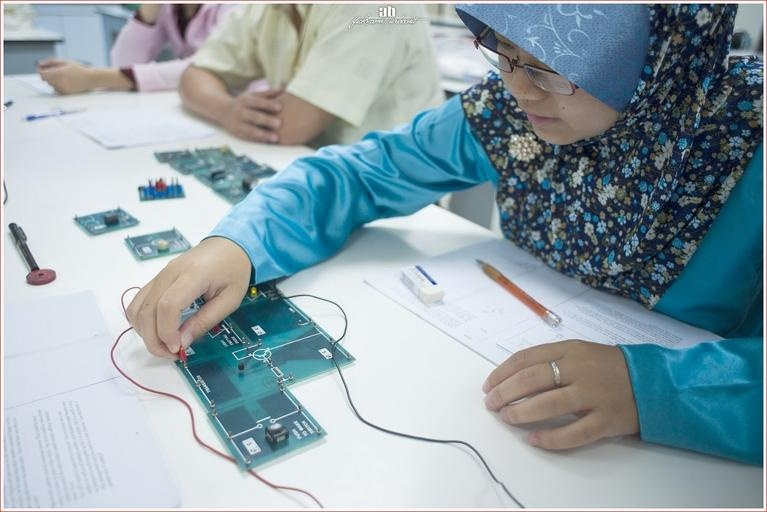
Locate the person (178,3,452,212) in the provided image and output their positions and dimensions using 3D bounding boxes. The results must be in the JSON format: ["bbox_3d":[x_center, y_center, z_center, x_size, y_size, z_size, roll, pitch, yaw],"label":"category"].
[{"bbox_3d":[-0.280,-0.728,2.260,0.834,0.863,0.710,-32,46,-24],"label":"person"}]

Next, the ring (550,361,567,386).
[{"bbox_3d":[0.321,0.217,1.030,0.013,0.027,0.035,-20,67,10],"label":"ring"}]

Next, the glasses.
[{"bbox_3d":[0.286,-0.412,1.185,0.065,0.085,0.292,-21,45,-25],"label":"glasses"}]
